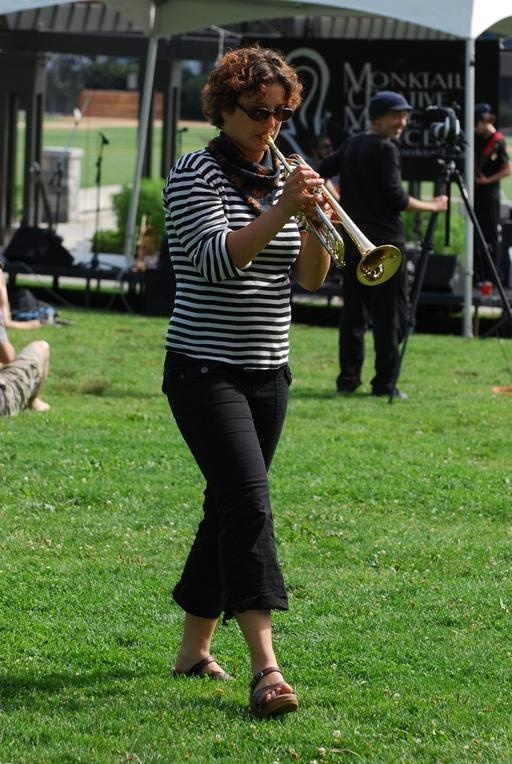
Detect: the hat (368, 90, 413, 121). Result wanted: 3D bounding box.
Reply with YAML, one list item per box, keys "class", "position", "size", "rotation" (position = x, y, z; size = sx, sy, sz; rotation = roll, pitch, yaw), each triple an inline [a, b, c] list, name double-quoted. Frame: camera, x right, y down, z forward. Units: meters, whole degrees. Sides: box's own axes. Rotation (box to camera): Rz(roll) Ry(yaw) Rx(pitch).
- class: "hat"
  position: [0.774, -1.585, 7.416]
  size: [0.220, 0.115, 0.153]
  rotation: [-7, 11, 23]

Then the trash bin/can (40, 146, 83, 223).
- class: "trash bin/can"
  position: [-1.107, -1.131, 7.329]
  size: [0.254, 0.404, 0.261]
  rotation: [7, 23, 9]

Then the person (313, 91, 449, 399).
- class: "person"
  position: [0.678, -0.755, 7.461]
  size: [0.949, 1.728, 1.114]
  rotation: [1, 23, 4]

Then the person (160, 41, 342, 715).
- class: "person"
  position: [-0.003, -0.022, 3.695]
  size: [0.500, 1.873, 0.888]
  rotation: [0, 0, -16]

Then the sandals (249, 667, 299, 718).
- class: "sandals"
  position: [0.031, 0.863, 3.570]
  size: [0.105, 0.107, 0.251]
  rotation: [0, -17, -21]

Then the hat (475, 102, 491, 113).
- class: "hat"
  position: [1.493, -1.787, 8.442]
  size: [0.090, 0.066, 0.067]
  rotation: [-3, 13, 6]

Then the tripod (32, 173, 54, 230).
- class: "tripod"
  position: [-1.181, -1.003, 7.066]
  size: [0.120, 0.356, 0.077]
  rotation: [-4, 15, -17]

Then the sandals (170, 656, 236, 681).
- class: "sandals"
  position: [-0.161, 0.865, 3.891]
  size: [0.186, 0.064, 0.066]
  rotation: [0, -1, 14]
